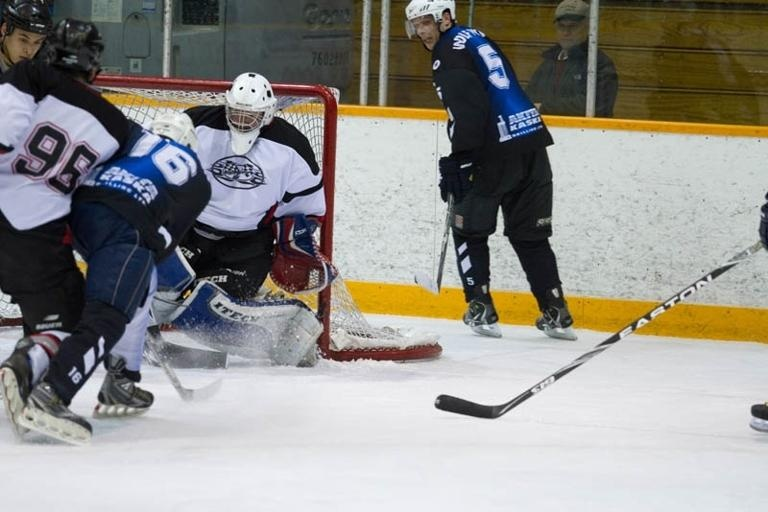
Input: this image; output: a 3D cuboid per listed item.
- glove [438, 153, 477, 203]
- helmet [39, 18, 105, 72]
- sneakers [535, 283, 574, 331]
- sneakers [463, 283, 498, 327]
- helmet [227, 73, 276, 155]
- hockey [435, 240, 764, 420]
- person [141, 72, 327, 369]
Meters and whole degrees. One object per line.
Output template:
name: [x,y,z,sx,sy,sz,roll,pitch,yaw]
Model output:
glove: [0.407,-0.471,5.290,0.116,0.244,0.226,-2,14,-41]
helmet: [-1.278,-0.826,3.612,0.213,0.209,0.246,14,4,-12]
sneakers: [1.035,0.337,5.561,0.157,0.272,0.308,-11,-2,-30]
sneakers: [0.539,0.310,5.504,0.316,0.272,0.139,-4,-2,-33]
helmet: [-0.676,-0.733,4.484,0.289,0.334,0.351,8,26,-1]
hockey: [1.272,0.411,5.012,1.421,0.115,0.185,-28,21,9]
person: [-0.782,-0.245,4.597,1.412,1.252,0.763,15,19,25]
